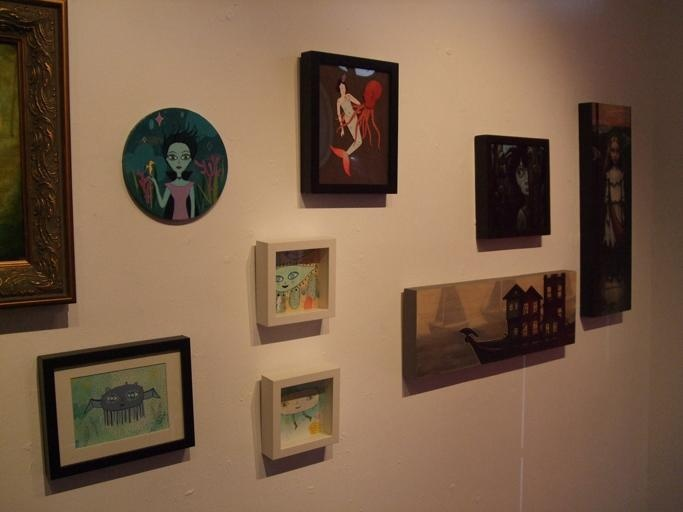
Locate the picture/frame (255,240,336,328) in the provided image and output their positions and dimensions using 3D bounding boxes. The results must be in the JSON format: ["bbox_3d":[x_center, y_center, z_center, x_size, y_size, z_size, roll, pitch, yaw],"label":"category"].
[{"bbox_3d":[-0.123,0.067,1.623,0.203,0.231,0.061,-6,12,-33],"label":"picture/frame"}]

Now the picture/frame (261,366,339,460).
[{"bbox_3d":[-0.110,0.435,1.662,0.204,0.228,0.056,-3,7,-32],"label":"picture/frame"}]

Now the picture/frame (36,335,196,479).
[{"bbox_3d":[-0.576,0.367,1.457,0.312,0.305,0.036,-6,2,-35],"label":"picture/frame"}]

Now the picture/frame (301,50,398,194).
[{"bbox_3d":[0.011,-0.384,1.683,0.345,0.461,0.054,-3,7,-29],"label":"picture/frame"}]

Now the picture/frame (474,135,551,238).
[{"bbox_3d":[0.615,-0.234,2.023,0.042,0.345,0.311,-6,7,-30],"label":"picture/frame"}]
